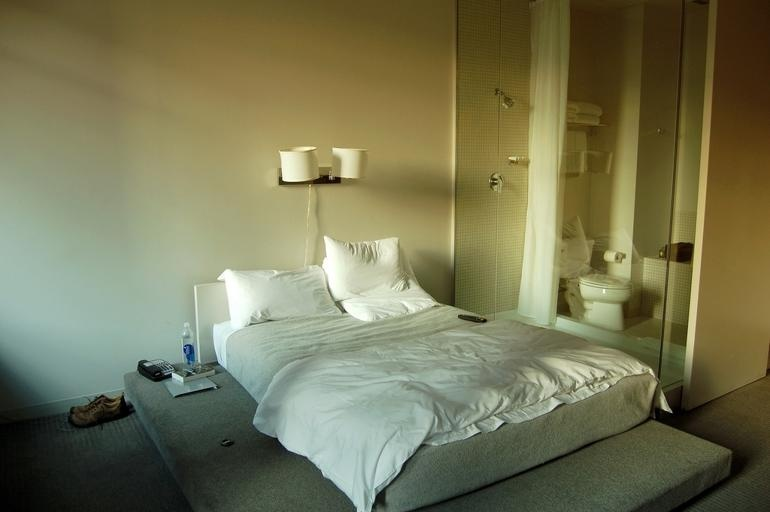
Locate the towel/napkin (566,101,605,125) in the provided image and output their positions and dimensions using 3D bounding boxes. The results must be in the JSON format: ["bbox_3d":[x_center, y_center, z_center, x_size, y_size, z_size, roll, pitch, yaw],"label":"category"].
[{"bbox_3d":[1.729,-1.243,4.621,0.256,0.076,0.196,20,30,41],"label":"towel/napkin"}]

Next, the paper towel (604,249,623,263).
[{"bbox_3d":[1.957,-0.015,4.582,0.129,0.109,0.102,3,8,43],"label":"paper towel"}]

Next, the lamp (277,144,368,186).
[{"bbox_3d":[-0.602,-0.848,5.013,0.794,0.357,0.401,-9,16,-27],"label":"lamp"}]

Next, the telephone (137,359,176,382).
[{"bbox_3d":[-1.958,0.958,4.532,0.171,0.083,0.231,-6,9,-44],"label":"telephone"}]

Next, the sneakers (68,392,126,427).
[{"bbox_3d":[-2.382,1.277,4.445,0.389,0.145,0.229,-3,15,-32],"label":"sneakers"}]
